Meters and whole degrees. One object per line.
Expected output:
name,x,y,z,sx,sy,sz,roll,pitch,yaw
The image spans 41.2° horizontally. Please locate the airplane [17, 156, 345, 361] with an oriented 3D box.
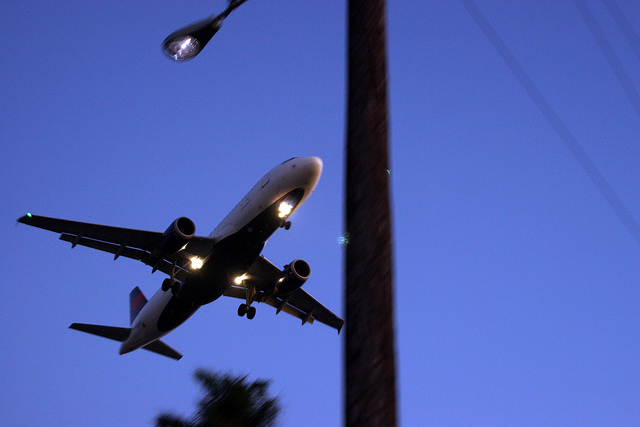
airplane,-5.518,3.753,45.995,14.526,5.159,12.785,-7,-58,16
